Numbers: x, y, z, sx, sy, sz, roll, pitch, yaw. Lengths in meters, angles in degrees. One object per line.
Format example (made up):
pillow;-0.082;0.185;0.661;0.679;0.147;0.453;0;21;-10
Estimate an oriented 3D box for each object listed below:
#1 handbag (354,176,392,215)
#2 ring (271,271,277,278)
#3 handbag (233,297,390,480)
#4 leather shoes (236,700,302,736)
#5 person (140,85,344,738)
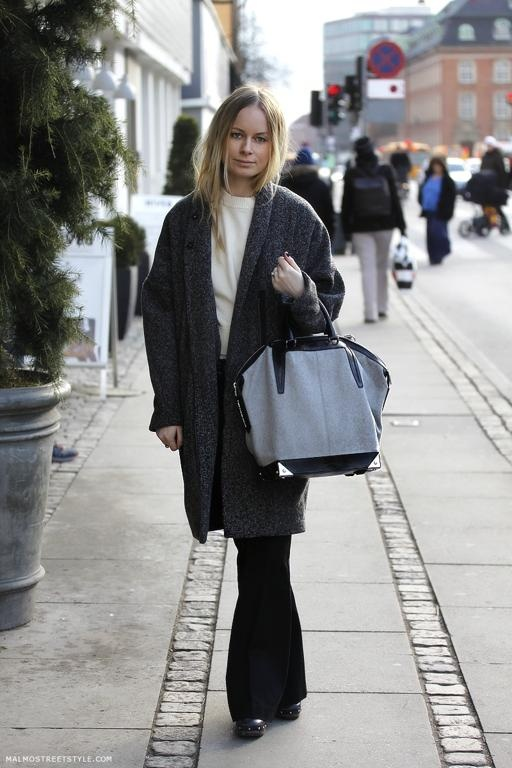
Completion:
handbag;1.572;-2.554;11.185;0.489;0.587;0.334;1;5;6
ring;0.044;-0.273;2.048;0.014;0.016;0.007;10;13;11
handbag;0.137;-0.006;2.053;0.413;0.437;0.210;-5;-1;-7
leather shoes;0.028;0.900;2.249;0.192;0.077;0.064;-16;19;-36
person;-0.036;0.097;2.214;0.651;1.694;0.547;2;7;11
